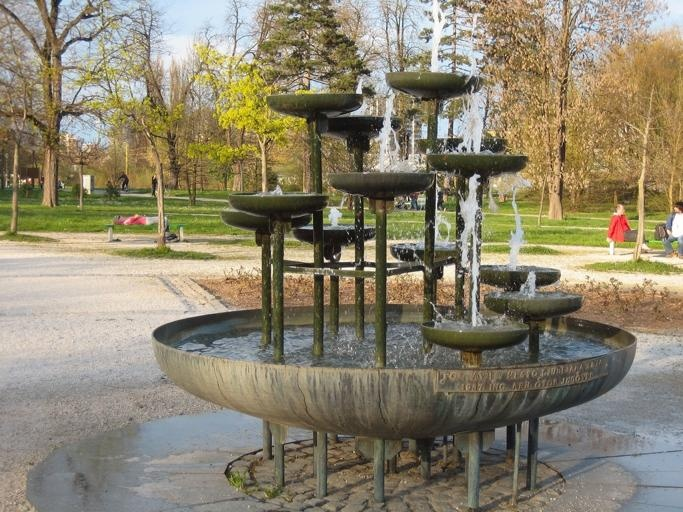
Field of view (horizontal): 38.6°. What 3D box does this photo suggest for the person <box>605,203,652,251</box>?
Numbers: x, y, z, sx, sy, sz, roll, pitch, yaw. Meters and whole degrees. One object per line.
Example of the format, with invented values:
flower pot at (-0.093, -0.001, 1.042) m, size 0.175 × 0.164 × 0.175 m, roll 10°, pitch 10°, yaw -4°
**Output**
person at (8.369, -0.852, 28.571) m, size 1.068 × 1.404 × 0.767 m, roll -8°, pitch 13°, yaw 22°
